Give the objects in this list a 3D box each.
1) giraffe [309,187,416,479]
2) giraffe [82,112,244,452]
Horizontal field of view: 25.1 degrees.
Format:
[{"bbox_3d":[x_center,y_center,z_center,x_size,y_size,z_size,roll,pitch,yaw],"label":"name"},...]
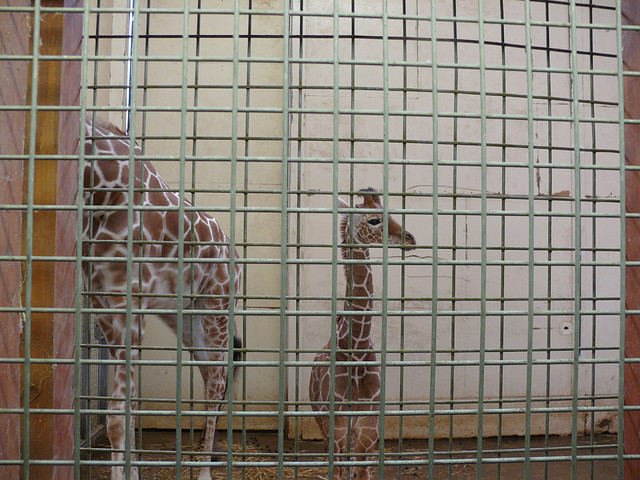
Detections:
[{"bbox_3d":[0.253,0.656,9.350,0.670,2.000,1.060,1,2,4],"label":"giraffe"},{"bbox_3d":[-1.026,0.331,9.189,1.022,2.334,2.122,1,2,-5],"label":"giraffe"}]
